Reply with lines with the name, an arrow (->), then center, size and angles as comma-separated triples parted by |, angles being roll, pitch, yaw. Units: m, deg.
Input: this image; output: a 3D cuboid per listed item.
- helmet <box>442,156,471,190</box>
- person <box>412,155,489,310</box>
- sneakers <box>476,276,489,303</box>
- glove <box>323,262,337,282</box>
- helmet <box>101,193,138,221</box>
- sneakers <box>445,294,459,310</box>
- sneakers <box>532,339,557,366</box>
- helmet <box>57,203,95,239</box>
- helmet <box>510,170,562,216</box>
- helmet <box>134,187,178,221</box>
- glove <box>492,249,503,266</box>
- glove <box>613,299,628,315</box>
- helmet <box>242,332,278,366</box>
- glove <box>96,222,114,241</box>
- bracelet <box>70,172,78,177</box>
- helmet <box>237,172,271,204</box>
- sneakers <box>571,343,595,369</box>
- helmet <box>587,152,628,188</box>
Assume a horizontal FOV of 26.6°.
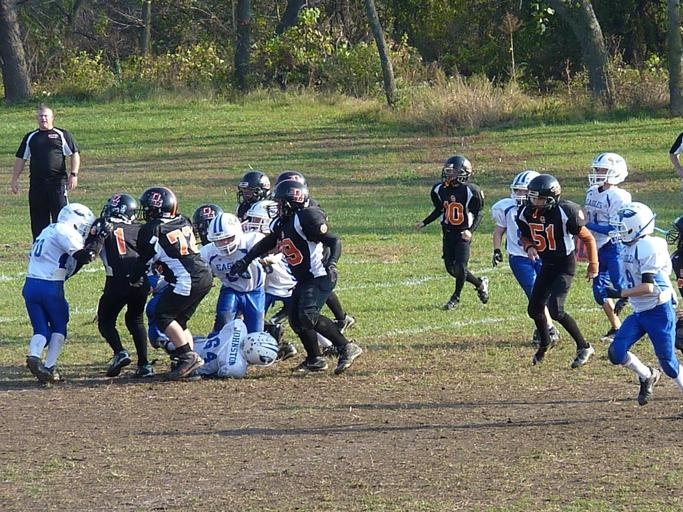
helmet -> 2.104, -1.538, 26.136 | 0.571, 0.461, 0.430 | -2, 5, -45
person -> 2.109, -0.423, 26.151 | 0.965, 2.718, 0.646 | -2, 5, 6
sneakers -> 2.557, 0.612, 26.177 | 0.233, 0.492, 0.173 | -8, 2, -19
glove -> -0.187, 0.280, 23.368 | 0.165, 0.362, 0.241 | -3, 6, -11
helmet -> -3.687, -0.782, 24.004 | 0.389, 0.444, 0.547 | 24, 41, 20
sneakers -> 1.966, 0.842, 26.032 | 0.270, 0.264, 0.124 | -4, 6, -15
sneakers -> 3.287, 1.585, 23.804 | 0.221, 0.575, 0.195 | 10, 34, -25
helmet -> -4.409, -0.587, 23.950 | 0.586, 0.514, 0.490 | 16, 12, -17
helmet -> 3.265, -1.027, 23.547 | 0.536, 0.538, 0.386 | -2, 6, 7
helmet -> -3.074, -0.874, 23.944 | 0.617, 0.524, 0.464 | 8, 14, 24
glove -> 2.686, -0.003, 24.942 | 0.205, 0.331, 0.127 | 5, -20, -1
glove -> 4.744, 0.871, 24.716 | 0.102, 0.340, 0.097 | 24, -12, 34
helmet -> -1.336, 1.505, 23.768 | 0.562, 0.458, 0.509 | 7, 5, -1
glove -> -3.911, -0.415, 23.590 | 0.212, 0.295, 0.097 | 2, -30, 2
bracelet -> -4.948, -1.481, 26.535 | 0.123, 0.094, 0.141 | 2, -4, 30
helmet -> -1.535, -1.201, 25.278 | 0.426, 0.489, 0.588 | -1, 7, 43
sneakers -> 3.929, 1.646, 23.659 | 0.573, 0.252, 0.203 | -44, 21, -30
helmet -> 4.572, -1.462, 24.798 | 0.634, 0.540, 0.489 | 2, 4, -4
